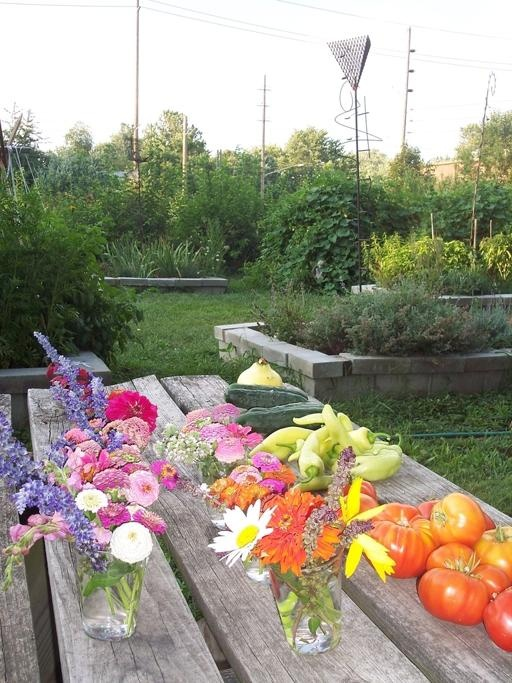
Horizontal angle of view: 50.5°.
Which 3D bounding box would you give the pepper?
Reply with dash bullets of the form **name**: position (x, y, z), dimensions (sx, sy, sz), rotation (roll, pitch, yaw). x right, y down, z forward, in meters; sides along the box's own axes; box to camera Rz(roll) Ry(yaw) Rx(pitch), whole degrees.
- **pepper**: position (0.247, 0.301, 1.558), dimensions (0.369, 0.139, 0.255), rotation (-8, 18, -20)
